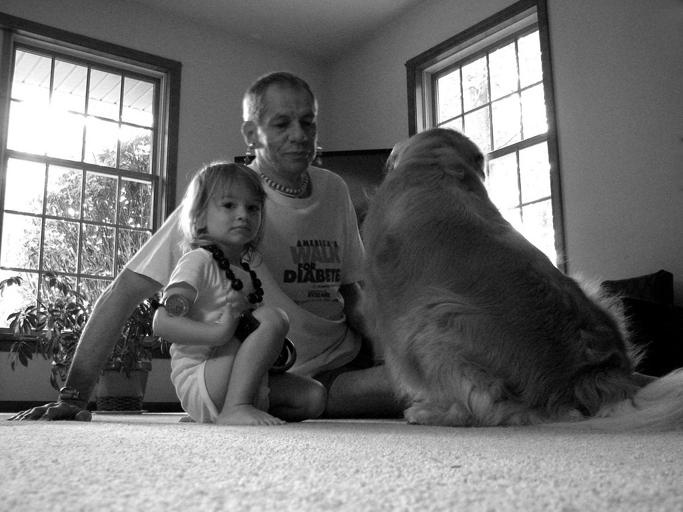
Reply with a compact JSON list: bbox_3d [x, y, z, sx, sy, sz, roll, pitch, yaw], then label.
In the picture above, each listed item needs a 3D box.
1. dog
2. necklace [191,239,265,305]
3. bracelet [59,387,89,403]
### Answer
[{"bbox_3d":[0.409,0.004,1.522,0.595,0.488,1.023,-8,32,-12],"label":"dog"},{"bbox_3d":[-0.306,0.057,1.457,0.028,0.186,0.121,-40,-1,17],"label":"necklace"},{"bbox_3d":[-0.735,0.398,1.513,0.068,0.041,0.028,30,-55,-17],"label":"bracelet"}]
